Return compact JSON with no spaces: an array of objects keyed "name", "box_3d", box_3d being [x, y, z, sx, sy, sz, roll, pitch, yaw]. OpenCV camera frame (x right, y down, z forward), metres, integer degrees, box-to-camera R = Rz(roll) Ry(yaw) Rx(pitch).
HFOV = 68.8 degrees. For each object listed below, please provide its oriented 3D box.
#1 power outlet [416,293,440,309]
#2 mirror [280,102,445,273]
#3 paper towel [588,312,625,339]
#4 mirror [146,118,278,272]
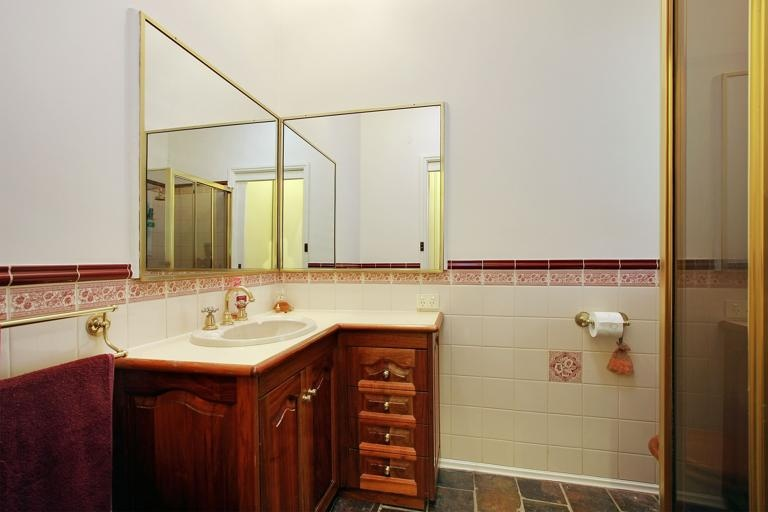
[{"name":"power outlet","box_3d":[0.253,0.263,3.357,0.136,0.120,0.081,0,-3,7]},{"name":"mirror","box_3d":[-0.085,-0.416,3.435,0.988,1.033,0.067,0,3,15]},{"name":"paper towel","box_3d":[1.228,0.373,3.091,0.167,0.156,0.139,1,-12,3]},{"name":"mirror","box_3d":[-0.940,-0.323,2.989,0.060,0.963,0.857,-3,-3,28]}]
